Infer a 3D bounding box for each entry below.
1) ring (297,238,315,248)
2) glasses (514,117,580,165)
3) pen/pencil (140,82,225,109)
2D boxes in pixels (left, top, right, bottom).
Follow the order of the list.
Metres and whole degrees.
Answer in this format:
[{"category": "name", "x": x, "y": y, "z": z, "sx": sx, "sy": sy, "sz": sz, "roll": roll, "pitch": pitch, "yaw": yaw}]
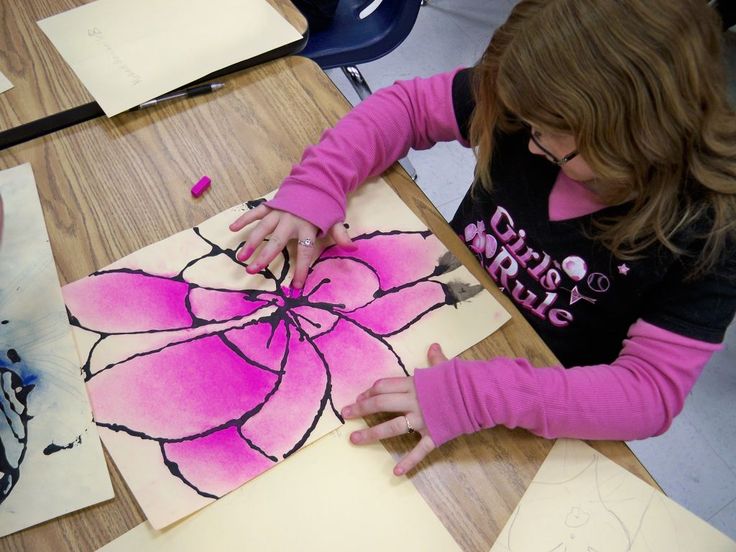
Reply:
[{"category": "ring", "x": -0.096, "y": -0.054, "z": 0.911, "sx": 0.013, "sy": 0.016, "sz": 0.019, "roll": 10, "pitch": 96, "yaw": 31}, {"category": "glasses", "x": 0.277, "y": -0.203, "z": 0.882, "sx": 0.067, "sy": 0.028, "sz": 0.063, "roll": 30, "pitch": 90, "yaw": 2}, {"category": "pen/pencil", "x": -0.317, "y": -0.306, "z": 0.980, "sx": 0.100, "sy": 0.012, "sz": 0.013, "roll": -23, "pitch": 83, "yaw": -12}]
